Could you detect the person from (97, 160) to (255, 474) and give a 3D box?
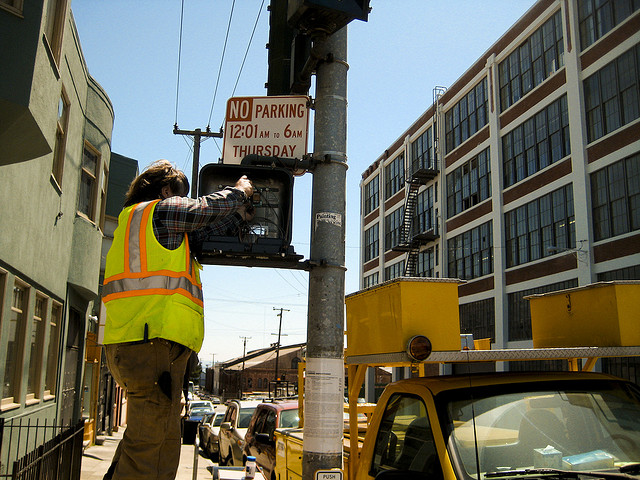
[{"bbox_3d":[-1.216,0.638,4.645,0.891,2.193,0.476,4,-14,-13],"label":"person"}]

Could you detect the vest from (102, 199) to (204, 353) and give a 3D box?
[{"bbox_3d":[-1.249,0.294,4.564,0.719,1.302,0.906,5,-12,-34],"label":"vest"}]

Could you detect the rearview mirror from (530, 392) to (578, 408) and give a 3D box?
[{"bbox_3d":[1.962,1.349,5.100,0.377,0.128,0.058,5,-15,-14],"label":"rearview mirror"}]

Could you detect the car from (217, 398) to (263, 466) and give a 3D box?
[{"bbox_3d":[-2.284,5.167,16.309,1.306,1.533,2.584,3,-24,-13],"label":"car"}]

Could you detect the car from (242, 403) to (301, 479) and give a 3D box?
[{"bbox_3d":[-1.082,3.992,12.454,0.967,1.034,1.739,5,-30,-16],"label":"car"}]

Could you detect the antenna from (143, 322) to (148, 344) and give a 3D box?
[{"bbox_3d":[-1.285,0.684,4.458,0.028,0.137,0.047,3,-14,-10],"label":"antenna"}]

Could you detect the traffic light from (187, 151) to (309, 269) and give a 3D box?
[{"bbox_3d":[-0.660,-0.351,5.725,0.873,1.132,0.820,3,-6,-5],"label":"traffic light"}]
